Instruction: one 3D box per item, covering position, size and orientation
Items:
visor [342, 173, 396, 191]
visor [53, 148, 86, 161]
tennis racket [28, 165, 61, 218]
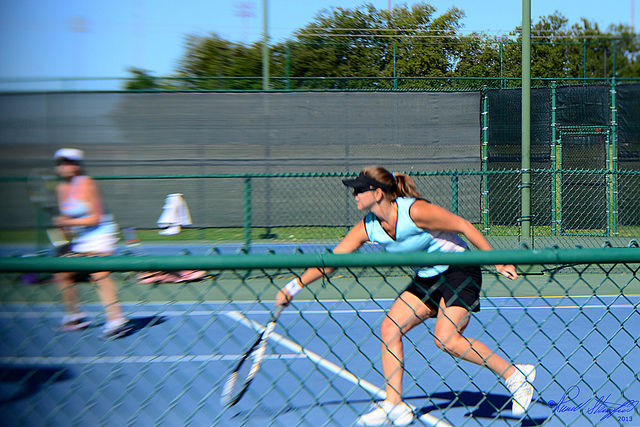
[{"bbox_3d":[0.594,-0.372,9.072,0.455,0.120,0.267,11,-5,-2],"label":"visor"},{"bbox_3d":[-3.831,-0.909,11.299,0.386,0.195,0.432,-11,17,-26],"label":"visor"},{"bbox_3d":[-4.963,-0.419,13.322,0.577,1.001,0.239,-21,-12,39],"label":"tennis racket"}]
